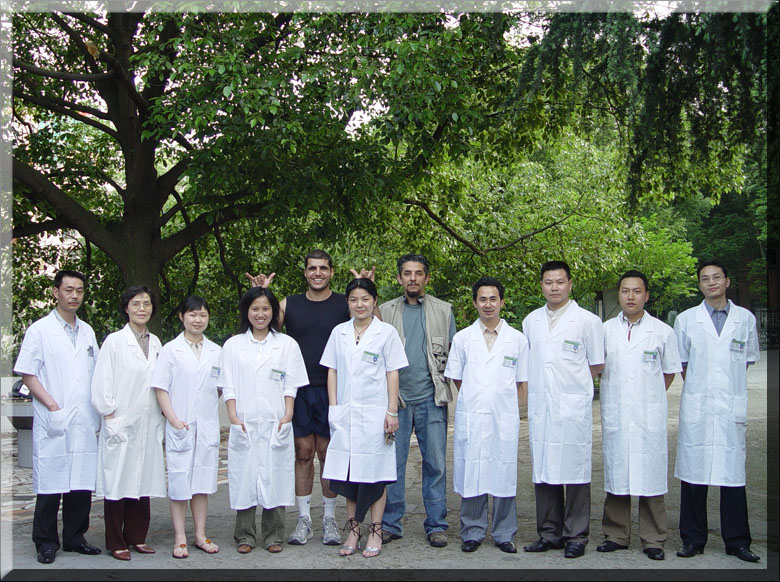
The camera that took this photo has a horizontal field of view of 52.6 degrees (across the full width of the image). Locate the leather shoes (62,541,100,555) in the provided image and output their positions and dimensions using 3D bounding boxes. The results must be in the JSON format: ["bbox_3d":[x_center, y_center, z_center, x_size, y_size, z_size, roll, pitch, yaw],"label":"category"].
[{"bbox_3d":[-2.639,2.206,6.811,0.321,0.132,0.120,-1,-5,5],"label":"leather shoes"}]

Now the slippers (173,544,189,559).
[{"bbox_3d":[-1.782,2.218,6.728,0.131,0.118,0.244,-2,-9,-14],"label":"slippers"}]

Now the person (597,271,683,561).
[{"bbox_3d":[2.135,1.066,6.873,0.824,2.448,0.340,-7,-8,19],"label":"person"}]

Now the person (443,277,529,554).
[{"bbox_3d":[0.884,1.081,6.908,0.739,2.364,0.349,-5,-8,7],"label":"person"}]

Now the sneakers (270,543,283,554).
[{"bbox_3d":[-0.978,2.207,6.750,0.125,0.068,0.082,-2,-9,-16],"label":"sneakers"}]

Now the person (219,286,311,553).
[{"bbox_3d":[-1.089,1.117,6.900,0.726,2.280,0.311,-3,-8,-8],"label":"person"}]

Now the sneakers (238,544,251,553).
[{"bbox_3d":[-1.232,2.208,6.751,0.126,0.070,0.070,-2,-9,-18],"label":"sneakers"}]

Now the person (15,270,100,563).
[{"bbox_3d":[-2.848,1.064,6.796,0.647,2.460,0.427,-2,-8,-17],"label":"person"}]

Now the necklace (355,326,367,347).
[{"bbox_3d":[-0.257,0.395,6.861,0.094,0.136,0.049,-2,-18,5],"label":"necklace"}]

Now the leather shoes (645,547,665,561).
[{"bbox_3d":[2.229,2.222,6.649,0.159,0.096,0.126,-6,-9,12],"label":"leather shoes"}]

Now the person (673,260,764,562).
[{"bbox_3d":[2.834,1.028,6.842,0.804,2.545,0.325,-7,-8,18],"label":"person"}]

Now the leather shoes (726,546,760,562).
[{"bbox_3d":[2.979,2.217,6.688,0.263,0.114,0.099,-4,1,38],"label":"leather shoes"}]

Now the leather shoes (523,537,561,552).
[{"bbox_3d":[1.309,2.197,6.882,0.358,0.156,0.122,4,-9,-7],"label":"leather shoes"}]

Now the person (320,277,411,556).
[{"bbox_3d":[-0.217,1.246,6.859,0.772,2.055,0.301,-4,-8,-4],"label":"person"}]

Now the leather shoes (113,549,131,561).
[{"bbox_3d":[-2.280,2.239,6.676,0.184,0.097,0.127,-4,-8,-4],"label":"leather shoes"}]

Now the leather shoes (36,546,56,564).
[{"bbox_3d":[-2.882,2.224,6.630,0.154,0.134,0.157,0,-9,-25],"label":"leather shoes"}]

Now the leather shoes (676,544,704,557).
[{"bbox_3d":[2.580,2.227,6.748,0.278,0.111,0.093,7,-13,-18],"label":"leather shoes"}]

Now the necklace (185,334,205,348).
[{"bbox_3d":[-1.710,0.432,6.936,0.113,0.117,0.149,-3,-42,-19],"label":"necklace"}]

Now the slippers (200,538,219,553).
[{"bbox_3d":[-1.560,2.208,6.817,0.212,0.120,0.138,-11,-11,37],"label":"slippers"}]

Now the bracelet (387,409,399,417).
[{"bbox_3d":[0.018,1.058,6.805,0.094,0.058,0.056,0,-9,-29],"label":"bracelet"}]

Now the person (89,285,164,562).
[{"bbox_3d":[-2.259,1.128,6.836,0.568,2.314,0.359,-2,-8,-17],"label":"person"}]

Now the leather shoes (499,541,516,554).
[{"bbox_3d":[1.003,2.205,6.782,0.110,0.047,0.076,0,4,40],"label":"leather shoes"}]

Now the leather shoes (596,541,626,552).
[{"bbox_3d":[1.883,2.204,6.767,0.263,0.106,0.097,5,-12,-7],"label":"leather shoes"}]
